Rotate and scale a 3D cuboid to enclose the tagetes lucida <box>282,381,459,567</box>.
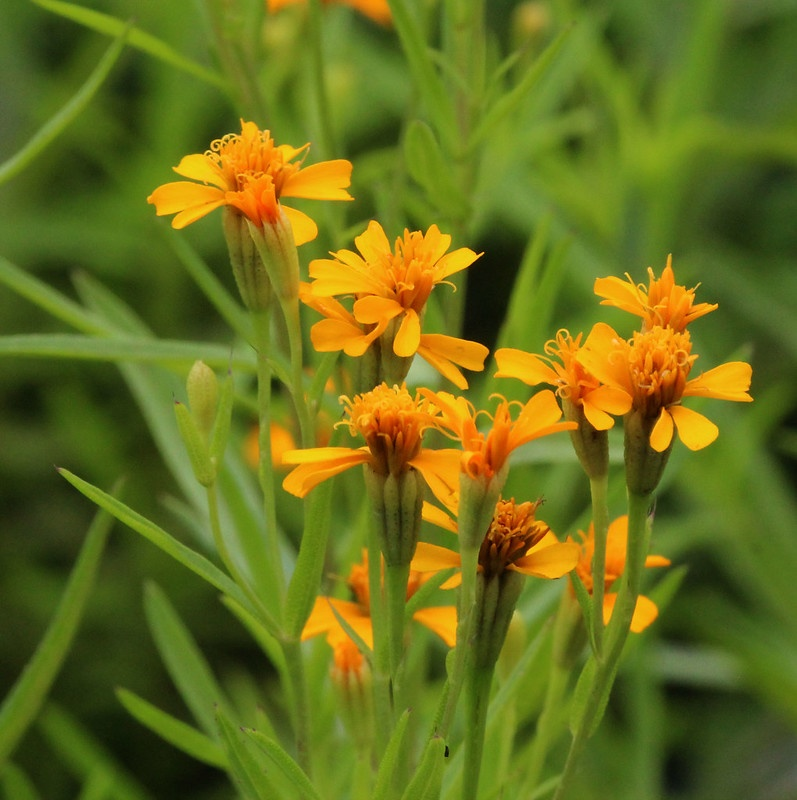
[{"bbox_3d":[-0.002,0.034,0.446,0.094,0.072,0.088,3,-4,-15],"label":"tagetes lucida"}]

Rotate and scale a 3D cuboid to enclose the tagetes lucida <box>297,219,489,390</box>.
[{"bbox_3d":[-0.009,-0.045,0.487,0.086,0.082,0.083,-7,44,-7],"label":"tagetes lucida"}]

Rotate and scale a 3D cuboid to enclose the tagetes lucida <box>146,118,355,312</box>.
[{"bbox_3d":[-0.068,-0.089,0.504,0.095,0.075,0.092,-4,-2,-9],"label":"tagetes lucida"}]
